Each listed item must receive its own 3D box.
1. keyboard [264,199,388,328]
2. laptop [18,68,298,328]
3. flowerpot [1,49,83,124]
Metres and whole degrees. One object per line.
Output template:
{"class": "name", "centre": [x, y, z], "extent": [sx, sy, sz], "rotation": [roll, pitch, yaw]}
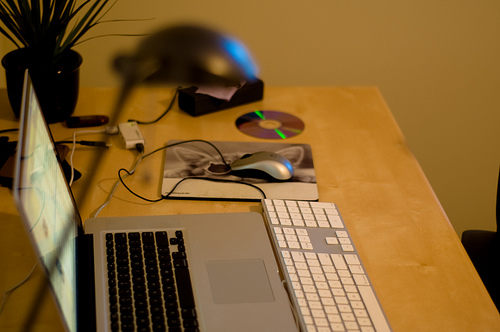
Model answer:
{"class": "keyboard", "centre": [0.140, 0.259, 0.990], "extent": [0.213, 0.514, 0.037], "rotation": [-4, -47, -8]}
{"class": "laptop", "centre": [-0.180, 0.112, 0.981], "extent": [0.630, 0.549, 0.439], "rotation": [-3, -56, -9]}
{"class": "flowerpot", "centre": [-0.637, -0.268, 1.354], "extent": [0.251, 0.229, 0.212], "rotation": [-19, -58, -39]}
